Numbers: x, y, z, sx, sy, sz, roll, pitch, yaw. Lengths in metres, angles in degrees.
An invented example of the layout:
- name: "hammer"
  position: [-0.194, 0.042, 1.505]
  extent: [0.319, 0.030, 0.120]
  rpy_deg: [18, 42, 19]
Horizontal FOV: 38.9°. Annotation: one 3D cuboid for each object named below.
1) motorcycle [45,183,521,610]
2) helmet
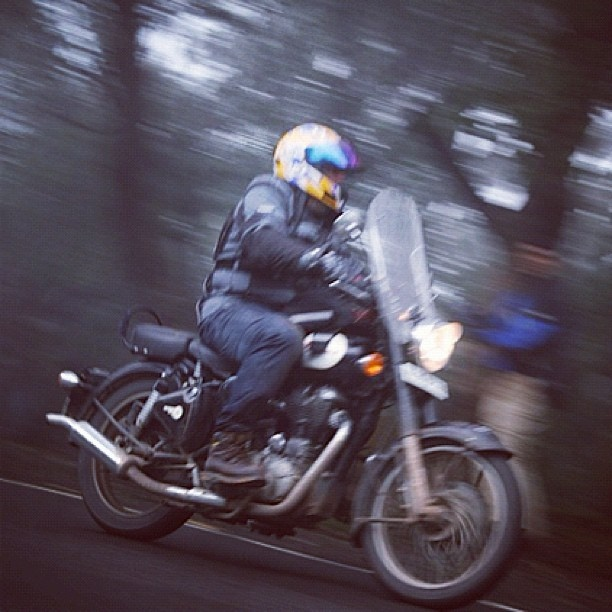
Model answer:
- name: "motorcycle"
  position: [0.024, 0.247, 2.628]
  extent: [1.500, 1.317, 0.206]
  rpy_deg: [18, -1, 27]
- name: "helmet"
  position: [-0.033, -0.470, 2.829]
  extent: [0.347, 0.211, 0.216]
  rpy_deg: [9, 6, -22]
